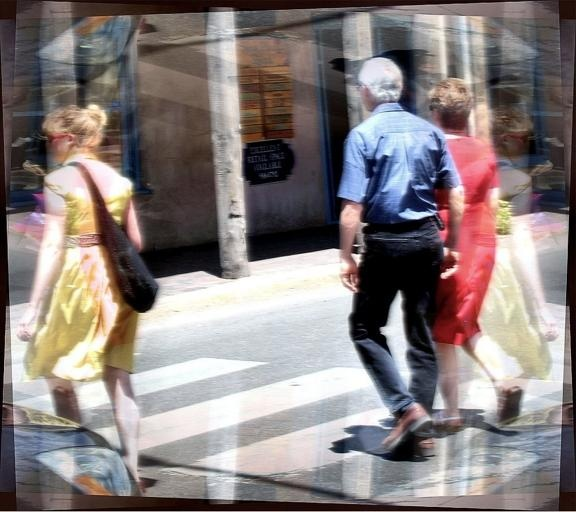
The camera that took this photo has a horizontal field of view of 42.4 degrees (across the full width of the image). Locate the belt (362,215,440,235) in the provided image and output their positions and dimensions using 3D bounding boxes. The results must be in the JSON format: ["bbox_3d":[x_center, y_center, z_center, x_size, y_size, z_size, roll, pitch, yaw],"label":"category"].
[{"bbox_3d":[0.551,-0.151,3.683,0.362,0.076,0.027,-2,9,2],"label":"belt"}]

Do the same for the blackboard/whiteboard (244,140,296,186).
[{"bbox_3d":[-0.086,-0.467,3.664,0.340,0.183,0.045,-3,-2,-1],"label":"blackboard/whiteboard"}]

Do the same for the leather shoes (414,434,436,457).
[{"bbox_3d":[0.699,0.981,3.854,0.094,0.079,0.143,0,12,-5],"label":"leather shoes"}]

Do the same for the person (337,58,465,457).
[{"bbox_3d":[0.570,-0.050,3.717,0.637,1.866,0.128,-5,9,3],"label":"person"}]
